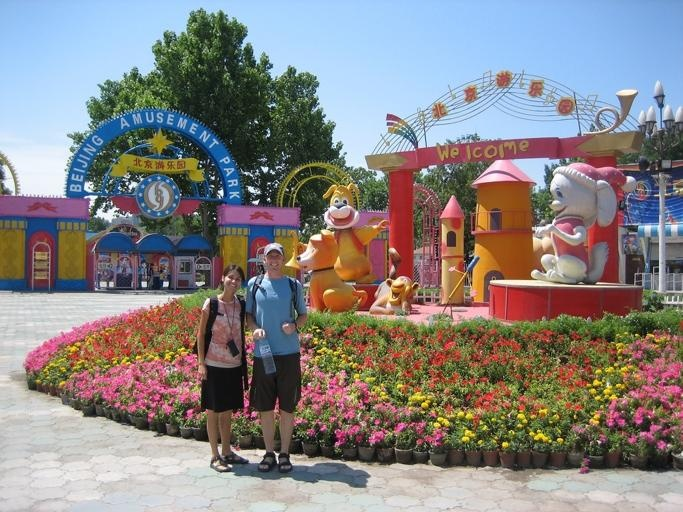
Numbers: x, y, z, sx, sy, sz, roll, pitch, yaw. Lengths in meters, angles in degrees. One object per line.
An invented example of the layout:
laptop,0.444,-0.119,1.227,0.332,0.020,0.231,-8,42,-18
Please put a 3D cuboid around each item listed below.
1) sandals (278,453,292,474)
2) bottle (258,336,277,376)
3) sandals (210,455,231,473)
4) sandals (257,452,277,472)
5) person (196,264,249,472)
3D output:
sandals,-0.722,2.646,9.787,0.164,0.194,0.508,1,-6,-5
bottle,-0.948,1.273,9.793,0.230,0.479,0.142,0,-2,-5
sandals,-1.533,2.652,9.803,0.259,0.179,0.192,0,-2,-11
sandals,-0.915,2.629,9.825,0.291,0.229,0.136,2,-3,-42
person,-1.532,1.422,9.908,0.671,2.633,0.313,0,-2,-12
